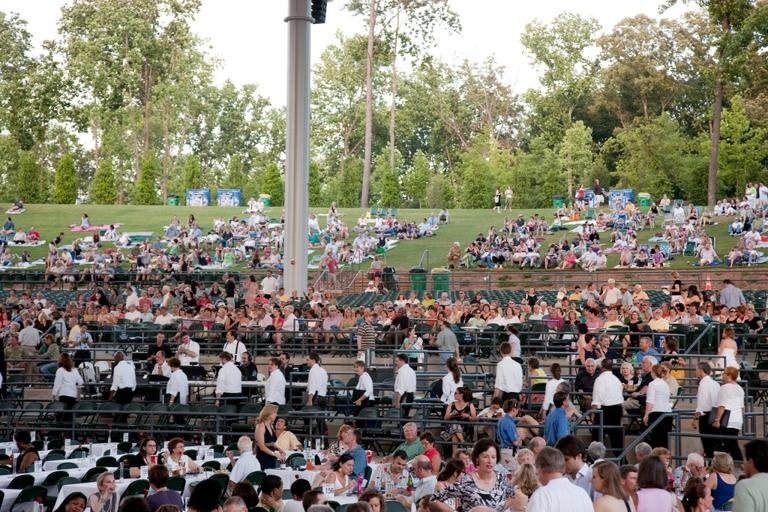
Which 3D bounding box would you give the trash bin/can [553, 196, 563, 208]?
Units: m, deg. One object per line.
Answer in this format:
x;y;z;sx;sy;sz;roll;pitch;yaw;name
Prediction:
12.465;-3.855;121.210;1.017;0.948;0.980;-1;5;1;trash bin/can

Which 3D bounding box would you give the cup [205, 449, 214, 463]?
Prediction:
-8.289;9.540;83.281;0.559;0.528;0.274;-1;-2;-41;cup

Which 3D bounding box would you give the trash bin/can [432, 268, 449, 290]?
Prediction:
3.605;1.389;104.088;1.151;1.325;1.104;0;1;-6;trash bin/can

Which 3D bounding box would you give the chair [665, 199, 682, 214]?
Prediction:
18.816;-3.267;112.118;0.827;0.459;1.327;1;11;11;chair

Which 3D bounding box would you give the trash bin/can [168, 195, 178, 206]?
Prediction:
-15.886;-4.369;130.477;0.982;0.783;0.845;-4;-7;38;trash bin/can

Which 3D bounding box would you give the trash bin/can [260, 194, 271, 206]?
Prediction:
-8.588;-4.187;125.922;0.929;0.834;0.931;-2;-1;37;trash bin/can
